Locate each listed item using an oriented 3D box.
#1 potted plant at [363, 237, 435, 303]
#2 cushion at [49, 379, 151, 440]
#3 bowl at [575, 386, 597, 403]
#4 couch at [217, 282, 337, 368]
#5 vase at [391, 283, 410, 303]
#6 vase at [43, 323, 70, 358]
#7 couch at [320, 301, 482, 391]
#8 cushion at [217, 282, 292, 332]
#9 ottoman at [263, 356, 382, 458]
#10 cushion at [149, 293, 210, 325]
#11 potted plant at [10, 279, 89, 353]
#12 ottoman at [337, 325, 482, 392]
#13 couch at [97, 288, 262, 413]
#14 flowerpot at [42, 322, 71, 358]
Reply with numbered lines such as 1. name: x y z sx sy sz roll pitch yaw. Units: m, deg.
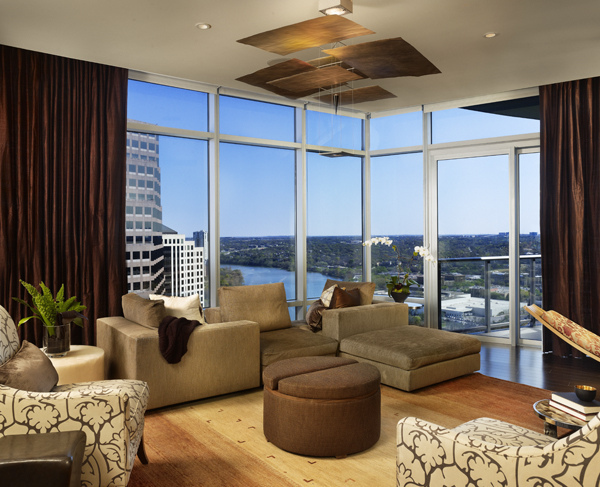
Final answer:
1. potted plant: 1.482 0.365 6.616 0.971 0.939 0.461 3 -3 -23
2. cushion: -1.229 0.983 2.972 0.786 0.158 0.805 5 -13 -24
3. bowl: 1.670 0.854 2.661 0.103 0.062 0.102 1 -6 0
4. couch: -0.278 0.885 4.832 1.106 0.846 1.129 0 1 -28
5. vase: 1.333 0.633 6.035 0.219 0.218 0.230 5 -5 -43
6. vase: -1.918 0.764 3.681 0.233 0.263 0.239 2 -4 -27
7. couch: 1.134 1.055 4.951 1.469 0.623 1.503 0 2 -10
8. cushion: -0.478 0.703 5.069 0.838 0.518 0.296 2 -8 -39
9. ottoman: 0.151 1.209 3.511 0.890 0.532 0.877 2 2 -37
10. cushion: -1.169 0.678 4.447 0.445 0.324 0.165 -7 -9 7
11. potted plant: -1.967 0.601 3.651 0.536 0.516 0.536 -3 -5 27
12. ottoman: 1.001 1.084 4.576 0.800 0.303 0.722 -1 0 -43
13. couch: -1.228 0.912 4.414 1.293 0.874 1.304 -1 2 -29
14. flowerpot: -1.948 0.751 3.680 0.231 0.260 0.236 -2 -7 -11
